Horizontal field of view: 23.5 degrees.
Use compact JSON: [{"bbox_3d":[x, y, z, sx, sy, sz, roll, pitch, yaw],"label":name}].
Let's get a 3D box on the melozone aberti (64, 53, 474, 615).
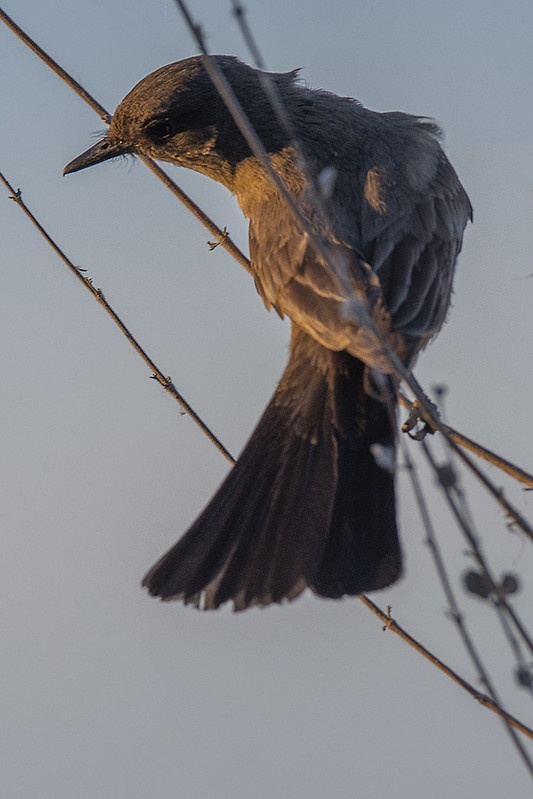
[{"bbox_3d":[0.156,-0.187,3.866,0.831,1.918,0.853,-9,-3,14],"label":"melozone aberti"}]
